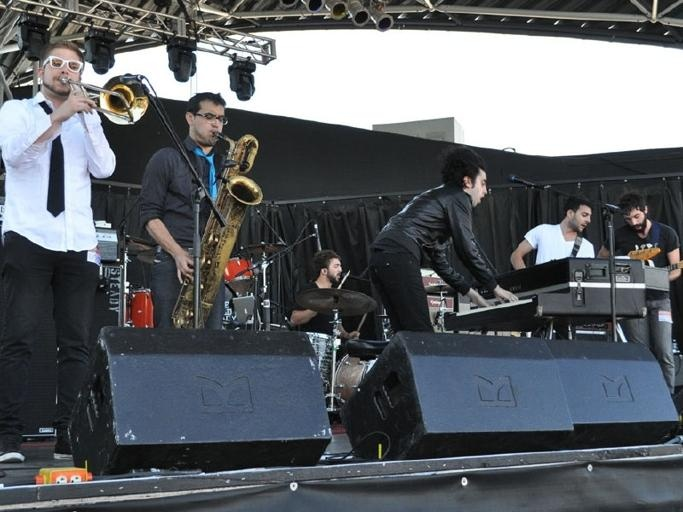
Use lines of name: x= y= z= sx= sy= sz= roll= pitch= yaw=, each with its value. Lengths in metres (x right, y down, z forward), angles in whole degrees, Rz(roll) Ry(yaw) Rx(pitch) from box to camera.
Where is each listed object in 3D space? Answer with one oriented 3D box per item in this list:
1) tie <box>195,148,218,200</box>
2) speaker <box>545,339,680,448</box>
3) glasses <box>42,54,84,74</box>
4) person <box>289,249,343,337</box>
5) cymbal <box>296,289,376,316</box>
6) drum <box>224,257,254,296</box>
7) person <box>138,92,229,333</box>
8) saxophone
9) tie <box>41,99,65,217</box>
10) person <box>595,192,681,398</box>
tie: x=-0.887 y=-0.536 z=6.653 sx=0.237 sy=0.319 sz=0.080 roll=-2 pitch=0 yaw=-37
speaker: x=1.489 y=0.749 z=5.948 sx=0.769 sy=0.607 sz=0.574 roll=1 pitch=4 yaw=-24
glasses: x=-1.653 y=-1.123 z=5.968 sx=0.224 sy=0.086 sz=0.077 roll=2 pitch=-6 yaw=-21
person: x=-0.241 y=0.384 z=9.930 sx=0.554 sy=1.192 sz=0.636 roll=4 pitch=13 yaw=18
cymbal: x=-0.057 y=0.417 z=9.211 sx=0.618 sy=0.255 sz=0.536 roll=3 pitch=1 yaw=-39
drum: x=-1.052 y=0.264 z=10.349 sx=0.360 sy=0.421 sz=0.421 roll=-11 pitch=3 yaw=-3
person: x=-0.997 y=-0.333 z=6.506 sx=0.619 sy=1.583 sz=0.539 roll=4 pitch=-6 yaw=-35
saxophone: x=-0.860 y=-0.106 z=6.957 sx=0.474 sy=1.507 sz=0.360 roll=23 pitch=12 yaw=41
tie: x=-1.700 y=-0.576 z=6.024 sx=0.107 sy=0.698 sz=0.035 roll=8 pitch=-5 yaw=-28
person: x=2.587 y=0.197 z=8.820 sx=0.765 sy=2.098 sz=0.704 roll=2 pitch=5 yaw=22
